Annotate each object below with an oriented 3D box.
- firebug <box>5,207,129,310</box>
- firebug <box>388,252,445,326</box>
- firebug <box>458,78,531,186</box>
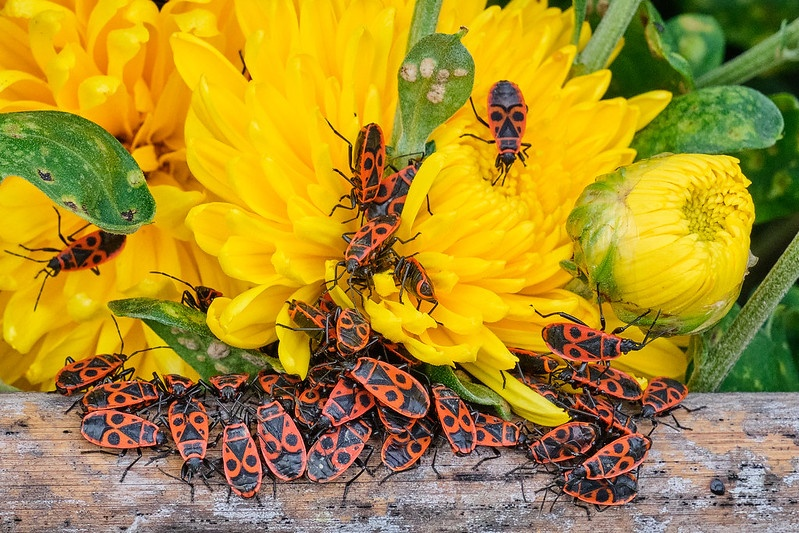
[{"bbox_3d":[-0.809,-0.041,2.152,0.308,0.089,0.263,-23,102,-2],"label":"firebug"},{"bbox_3d":[0.020,0.066,2.204,0.054,0.135,0.171,-19,81,25],"label":"firebug"},{"bbox_3d":[0.268,-0.369,2.338,0.238,0.070,0.246,-6,114,-16],"label":"firebug"}]
